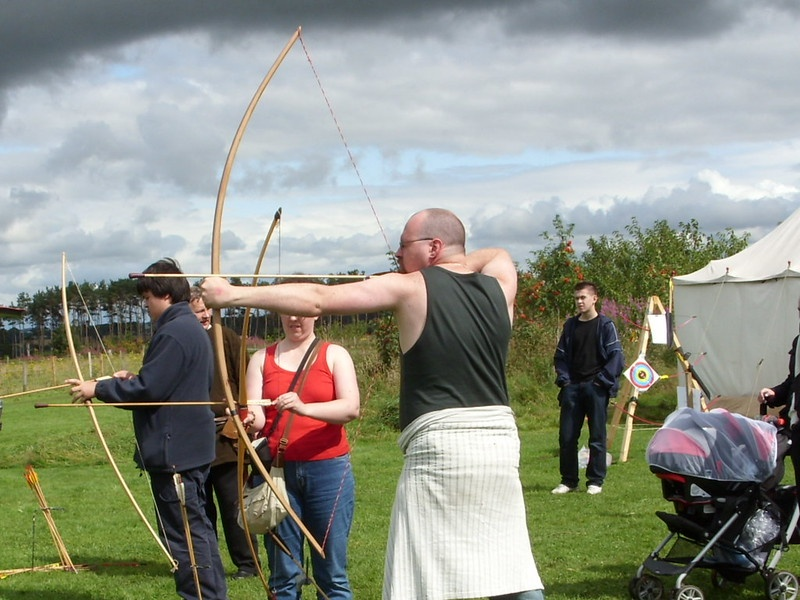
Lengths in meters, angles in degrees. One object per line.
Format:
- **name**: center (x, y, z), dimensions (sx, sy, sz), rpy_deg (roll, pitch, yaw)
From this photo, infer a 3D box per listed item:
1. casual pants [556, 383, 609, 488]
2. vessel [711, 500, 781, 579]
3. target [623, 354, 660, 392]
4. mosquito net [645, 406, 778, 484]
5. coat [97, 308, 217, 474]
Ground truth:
- **casual pants**: center (2.096, 1.538, 10.726), dimensions (0.516, 1.232, 0.379), rpy_deg (2, -9, 21)
- **vessel**: center (2.923, 1.992, 7.675), dimensions (0.579, 0.706, 0.477), rpy_deg (3, -11, -1)
- **target**: center (3.063, 0.976, 11.921), dimensions (0.420, 0.420, 0.108), rpy_deg (-47, -10, -3)
- **mosquito net**: center (2.711, 1.251, 8.171), dimensions (1.333, 0.651, 0.956), rpy_deg (5, -10, -23)
- **coat**: center (-2.060, 0.716, 7.559), dimensions (1.078, 1.475, 1.099), rpy_deg (0, -5, 3)
